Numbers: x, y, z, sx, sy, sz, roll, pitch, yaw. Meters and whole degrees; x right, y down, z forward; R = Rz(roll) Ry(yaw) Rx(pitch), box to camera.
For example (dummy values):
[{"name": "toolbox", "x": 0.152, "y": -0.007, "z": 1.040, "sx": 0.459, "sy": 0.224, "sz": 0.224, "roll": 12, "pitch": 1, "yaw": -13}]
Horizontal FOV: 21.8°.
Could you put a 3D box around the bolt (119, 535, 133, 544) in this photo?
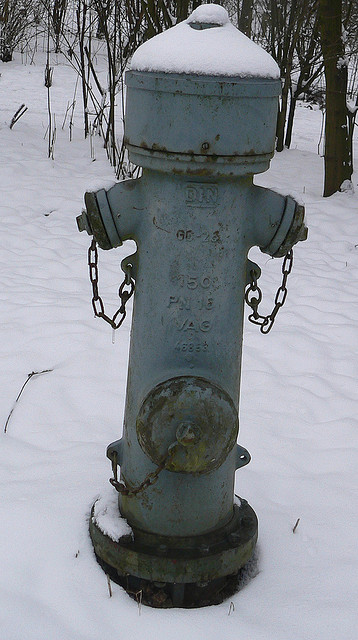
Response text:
[{"name": "bolt", "x": -0.174, "y": 0.719, "z": 3.053, "sx": 0.028, "sy": 0.030, "sz": 0.024, "roll": 5, "pitch": -9, "yaw": -39}]

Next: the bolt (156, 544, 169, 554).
[{"name": "bolt", "x": -0.053, "y": 0.739, "z": 3.010, "sx": 0.023, "sy": 0.030, "sz": 0.026, "roll": -1, "pitch": -10, "yaw": 1}]

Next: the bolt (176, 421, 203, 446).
[{"name": "bolt", "x": 0.036, "y": 0.342, "z": 2.808, "sx": 0.060, "sy": 0.074, "sz": 0.036, "roll": 0, "pitch": -8, "yaw": -13}]

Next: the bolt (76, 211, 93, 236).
[{"name": "bolt", "x": -0.305, "y": -0.313, "z": 2.943, "sx": 0.046, "sy": 0.070, "sz": 0.019, "roll": 4, "pitch": 49, "yaw": 15}]

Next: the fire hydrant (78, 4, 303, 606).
[{"name": "fire hydrant", "x": 0.020, "y": -0.005, "z": 2.949, "sx": 0.674, "sy": 1.909, "sz": 0.448, "roll": 6, "pitch": 14, "yaw": 8}]

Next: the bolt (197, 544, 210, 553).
[{"name": "bolt", "x": 0.080, "y": 0.743, "z": 3.029, "sx": 0.023, "sy": 0.026, "sz": 0.021, "roll": 2, "pitch": -11, "yaw": -23}]
